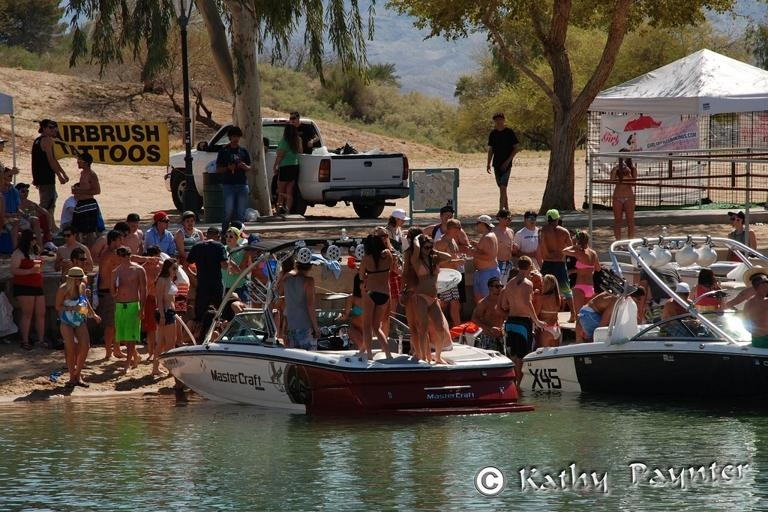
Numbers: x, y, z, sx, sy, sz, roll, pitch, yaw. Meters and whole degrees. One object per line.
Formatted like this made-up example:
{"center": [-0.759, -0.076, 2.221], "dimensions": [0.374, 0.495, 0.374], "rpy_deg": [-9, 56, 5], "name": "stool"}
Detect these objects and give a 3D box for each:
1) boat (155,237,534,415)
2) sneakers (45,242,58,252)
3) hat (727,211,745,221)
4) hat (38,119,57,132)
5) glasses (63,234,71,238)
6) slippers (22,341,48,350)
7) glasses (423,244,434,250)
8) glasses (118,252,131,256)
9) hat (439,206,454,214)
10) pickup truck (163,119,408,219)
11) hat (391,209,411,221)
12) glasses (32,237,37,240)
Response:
{"center": [-1.068, 1.131, 23.100], "dimensions": [5.371, 2.391, 2.953], "rpy_deg": [4, 4, 42], "name": "boat"}
{"center": [-6.995, -0.198, 27.147], "dimensions": [0.255, 0.220, 0.589], "rpy_deg": [-3, 6, -16], "name": "sneakers"}
{"center": [7.401, -0.891, 27.284], "dimensions": [0.319, 0.108, 0.206], "rpy_deg": [3, -4, -2], "name": "hat"}
{"center": [-7.081, -2.792, 27.241], "dimensions": [0.317, 0.254, 0.416], "rpy_deg": [-3, 6, -17], "name": "hat"}
{"center": [-6.181, -0.419, 25.227], "dimensions": [0.098, 0.097, 0.216], "rpy_deg": [-7, 8, -44], "name": "glasses"}
{"center": [-6.842, 1.778, 25.344], "dimensions": [0.501, 0.135, 0.180], "rpy_deg": [3, 8, 2], "name": "slippers"}
{"center": [0.767, -0.162, 22.309], "dimensions": [0.131, 0.084, 0.054], "rpy_deg": [-5, 6, -33], "name": "glasses"}
{"center": [-4.911, -0.059, 24.640], "dimensions": [0.138, 0.120, 0.288], "rpy_deg": [1, 6, 26], "name": "glasses"}
{"center": [1.255, -0.963, 25.829], "dimensions": [0.244, 0.119, 0.344], "rpy_deg": [-2, 6, -3], "name": "hat"}
{"center": [-2.368, -2.112, 33.192], "dimensions": [5.567, 2.146, 2.644], "rpy_deg": [6, 7, 38], "name": "pickup truck"}
{"center": [0.328, -0.794, 25.555], "dimensions": [0.326, 0.187, 0.235], "rpy_deg": [8, 12, -9], "name": "hat"}
{"center": [-6.799, -0.363, 25.132], "dimensions": [0.048, 0.092, 0.050], "rpy_deg": [10, 24, 9], "name": "glasses"}
